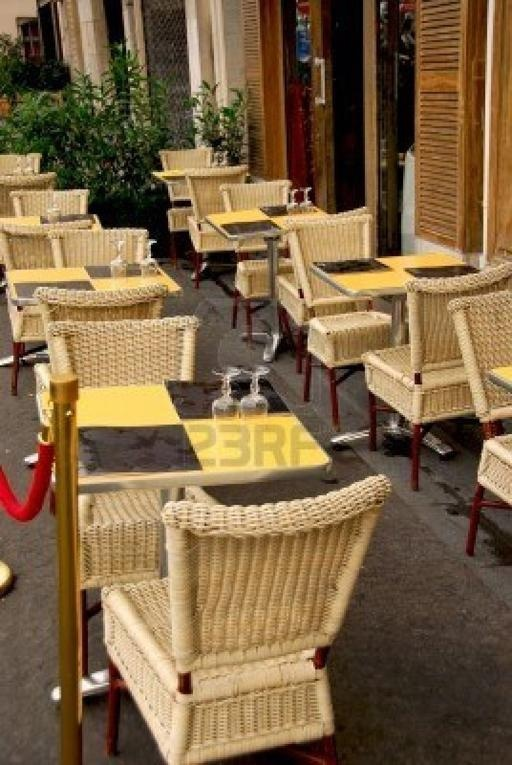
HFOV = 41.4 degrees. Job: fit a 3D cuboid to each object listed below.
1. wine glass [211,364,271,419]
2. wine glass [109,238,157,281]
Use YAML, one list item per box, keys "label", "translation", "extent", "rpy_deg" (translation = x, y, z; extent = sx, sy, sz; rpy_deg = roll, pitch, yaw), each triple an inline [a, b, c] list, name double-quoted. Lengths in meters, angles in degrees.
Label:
- label: "wine glass"
  translation: [-0.044, 0.039, 1.948]
  extent: [0.138, 0.177, 0.147]
  rpy_deg: [-4, 17, -12]
- label: "wine glass"
  translation: [-0.783, -0.727, 4.244]
  extent: [0.299, 0.258, 0.322]
  rpy_deg: [-7, 26, -16]
